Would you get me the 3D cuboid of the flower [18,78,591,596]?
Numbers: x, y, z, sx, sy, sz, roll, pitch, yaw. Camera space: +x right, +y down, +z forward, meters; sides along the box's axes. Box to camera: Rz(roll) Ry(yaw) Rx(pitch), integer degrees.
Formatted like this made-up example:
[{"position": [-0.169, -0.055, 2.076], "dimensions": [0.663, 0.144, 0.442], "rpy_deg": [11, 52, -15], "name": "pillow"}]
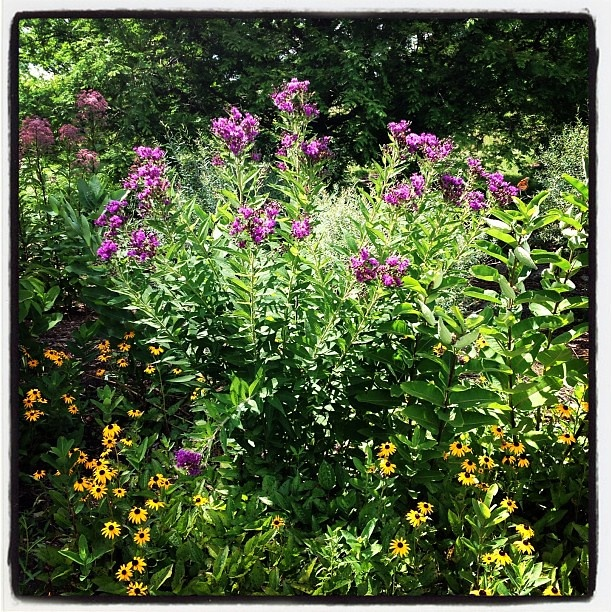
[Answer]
[{"position": [0.017, 0.135, 3.028], "dimensions": [2.474, 1.800, 1.237], "rpy_deg": [-1, -12, 4], "name": "flower"}]
